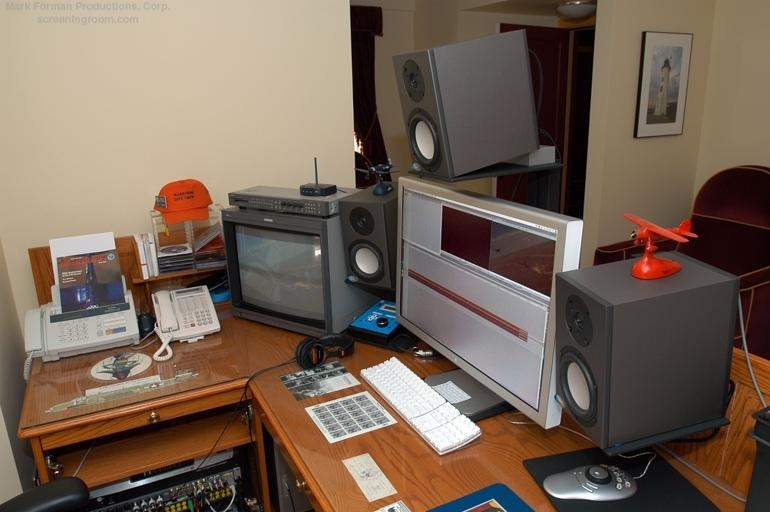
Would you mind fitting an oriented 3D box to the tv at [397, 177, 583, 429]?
[{"bbox_3d":[0.369,0.185,1.932,0.266,0.636,0.762,-10,24,-35],"label":"tv"}]

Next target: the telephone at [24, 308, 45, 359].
[{"bbox_3d":[-1.549,0.341,2.370,0.109,0.047,0.202,-6,68,-24],"label":"telephone"}]

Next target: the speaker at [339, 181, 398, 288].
[{"bbox_3d":[-0.067,-0.053,2.410,0.258,0.391,0.176,-5,24,-5],"label":"speaker"}]

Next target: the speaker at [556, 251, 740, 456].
[{"bbox_3d":[0.747,0.237,1.886,0.608,0.690,0.497,-7,22,-6],"label":"speaker"}]

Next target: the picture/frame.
[{"bbox_3d":[2.303,-1.434,4.486,0.581,0.818,0.210,-16,27,-27],"label":"picture/frame"}]

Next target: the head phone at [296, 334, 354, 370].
[{"bbox_3d":[-0.260,0.389,2.290,0.177,0.085,0.153,-4,7,-14],"label":"head phone"}]

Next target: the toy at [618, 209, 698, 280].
[{"bbox_3d":[1.315,-0.065,2.626,0.320,0.264,0.386,-11,23,-13],"label":"toy"}]
